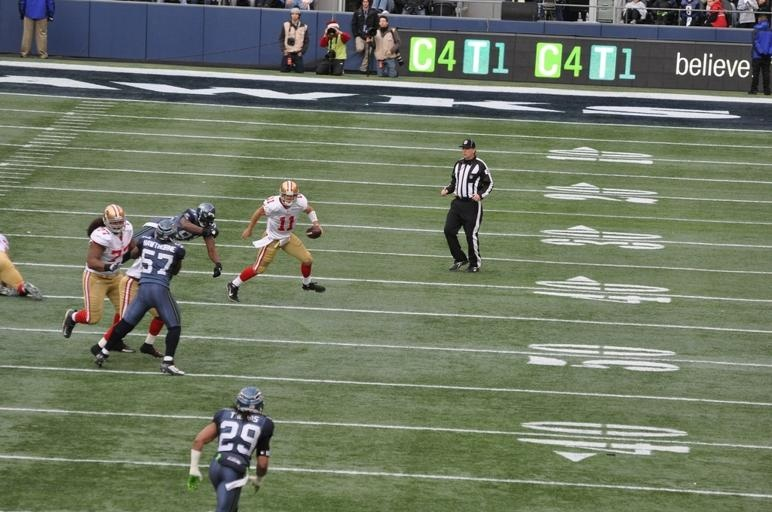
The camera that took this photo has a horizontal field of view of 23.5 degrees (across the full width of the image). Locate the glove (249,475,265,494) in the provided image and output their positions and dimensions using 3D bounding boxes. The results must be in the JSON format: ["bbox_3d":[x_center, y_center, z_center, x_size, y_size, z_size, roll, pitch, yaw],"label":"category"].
[{"bbox_3d":[-2.227,3.889,32.283,0.232,0.406,0.123,-8,56,-17],"label":"glove"}]

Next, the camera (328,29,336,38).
[{"bbox_3d":[-1.498,-6.103,51.406,0.193,0.156,0.263,23,16,-5],"label":"camera"}]

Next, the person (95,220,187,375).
[{"bbox_3d":[-4.441,0.768,34.894,1.322,2.903,0.463,0,8,-7],"label":"person"}]

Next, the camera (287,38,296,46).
[{"bbox_3d":[-2.608,-5.877,51.536,0.208,0.204,0.160,0,7,-3],"label":"camera"}]

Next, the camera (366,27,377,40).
[{"bbox_3d":[-0.404,-6.135,51.444,0.410,0.321,0.656,0,2,-6],"label":"camera"}]

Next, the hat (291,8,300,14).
[{"bbox_3d":[-2.452,-6.597,50.538,0.261,0.128,0.289,3,6,-1],"label":"hat"}]

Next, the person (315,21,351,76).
[{"bbox_3d":[-1.472,-5.724,51.869,0.828,1.443,1.180,0,7,-5],"label":"person"}]

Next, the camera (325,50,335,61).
[{"bbox_3d":[-1.537,-5.552,51.884,0.258,0.229,0.318,0,7,-4],"label":"camera"}]
